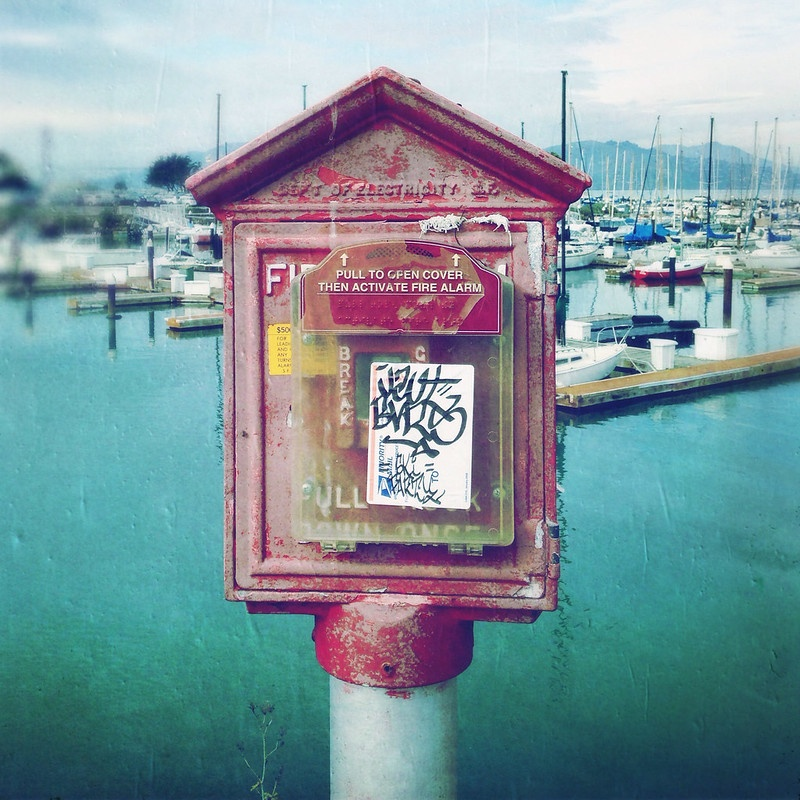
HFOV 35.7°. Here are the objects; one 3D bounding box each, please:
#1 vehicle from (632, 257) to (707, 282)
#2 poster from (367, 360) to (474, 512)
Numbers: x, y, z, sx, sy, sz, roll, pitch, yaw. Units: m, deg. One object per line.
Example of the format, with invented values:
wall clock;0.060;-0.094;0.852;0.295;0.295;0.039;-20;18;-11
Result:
vehicle;7.913;-3.838;37.051;1.492;0.720;2.196;10;16;36
poster;0.088;0.109;4.559;0.534;0.743;0.060;1;1;5
